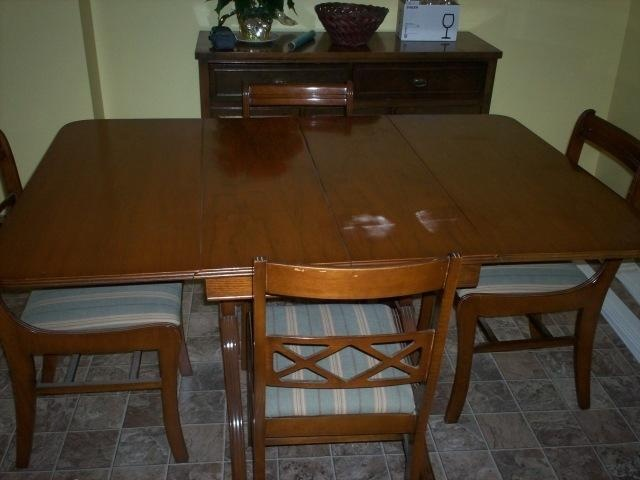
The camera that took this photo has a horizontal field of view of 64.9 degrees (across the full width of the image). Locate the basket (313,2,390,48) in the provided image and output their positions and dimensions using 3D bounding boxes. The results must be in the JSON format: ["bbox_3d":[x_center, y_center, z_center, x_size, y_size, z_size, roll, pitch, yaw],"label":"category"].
[{"bbox_3d":[0.195,-1.257,2.952,0.326,0.151,0.345,-11,34,-17],"label":"basket"}]
